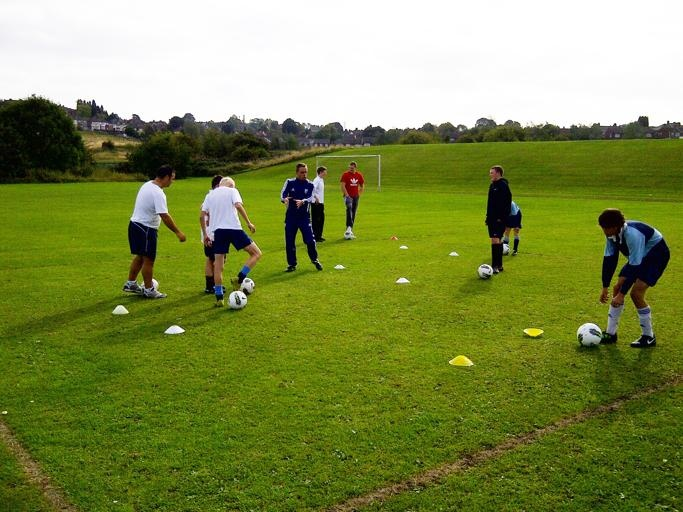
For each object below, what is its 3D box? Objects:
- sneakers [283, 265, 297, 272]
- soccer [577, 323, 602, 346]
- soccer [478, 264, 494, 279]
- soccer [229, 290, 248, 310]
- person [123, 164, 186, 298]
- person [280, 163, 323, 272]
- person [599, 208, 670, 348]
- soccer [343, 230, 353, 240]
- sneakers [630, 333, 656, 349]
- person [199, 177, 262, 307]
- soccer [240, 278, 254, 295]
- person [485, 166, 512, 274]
[{"bbox_3d":[-1.163,0.276,13.067,0.102,0.117,0.278,0,1,16],"label":"sneakers"},{"bbox_3d":[3.556,1.093,8.336,0.335,0.303,0.297,2,-27,20],"label":"soccer"},{"bbox_3d":[3.016,0.292,12.293,0.283,0.296,0.292,24,-11,-5],"label":"soccer"},{"bbox_3d":[-1.783,0.742,9.963,0.300,0.299,0.297,-3,-7,-15],"label":"soccer"},{"bbox_3d":[-3.567,-0.456,10.792,1.075,2.375,1.076,-5,13,-21],"label":"person"},{"bbox_3d":[-0.925,-0.853,12.984,1.022,2.370,0.980,3,3,8],"label":"person"},{"bbox_3d":[3.941,0.328,8.025,1.207,2.000,0.663,-8,14,-31],"label":"person"},{"bbox_3d":[0.213,-0.675,17.925,0.290,0.297,0.447,0,12,1],"label":"soccer"},{"bbox_3d":[4.311,1.221,8.345,0.387,0.154,0.155,-4,0,3],"label":"sneakers"},{"bbox_3d":[-2.029,-0.320,10.582,1.041,2.411,0.771,-1,-11,-8],"label":"person"},{"bbox_3d":[-1.763,0.569,11.100,0.260,0.305,0.266,-12,1,9],"label":"soccer"},{"bbox_3d":[3.487,-0.843,13.032,0.506,2.302,1.577,3,13,15],"label":"person"}]
